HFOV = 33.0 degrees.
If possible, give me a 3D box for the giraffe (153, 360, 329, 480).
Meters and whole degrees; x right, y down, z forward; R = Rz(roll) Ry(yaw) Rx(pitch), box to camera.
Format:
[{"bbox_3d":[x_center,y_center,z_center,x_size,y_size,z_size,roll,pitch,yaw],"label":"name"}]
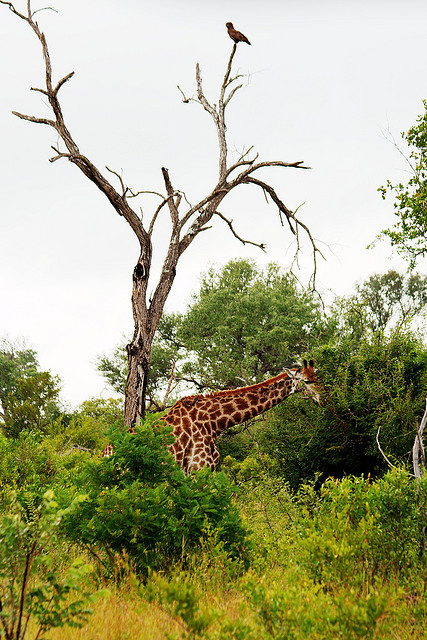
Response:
[{"bbox_3d":[0.299,1.283,9.556,2.320,1.640,0.736,12,-17,-33],"label":"giraffe"}]
